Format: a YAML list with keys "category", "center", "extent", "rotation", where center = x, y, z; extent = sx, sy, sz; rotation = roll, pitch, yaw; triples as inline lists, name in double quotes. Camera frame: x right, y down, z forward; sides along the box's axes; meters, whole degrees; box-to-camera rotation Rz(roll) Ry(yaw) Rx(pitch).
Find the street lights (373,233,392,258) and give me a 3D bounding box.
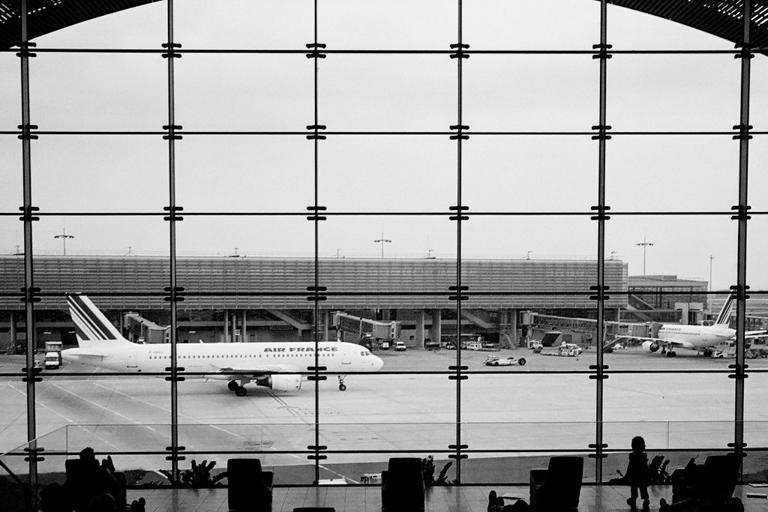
- category: "street lights"
  center: [-0.017, -0.202, 35.813]
  extent: [0.297, 0.499, 0.222]
  rotation: [-11, 16, -43]
